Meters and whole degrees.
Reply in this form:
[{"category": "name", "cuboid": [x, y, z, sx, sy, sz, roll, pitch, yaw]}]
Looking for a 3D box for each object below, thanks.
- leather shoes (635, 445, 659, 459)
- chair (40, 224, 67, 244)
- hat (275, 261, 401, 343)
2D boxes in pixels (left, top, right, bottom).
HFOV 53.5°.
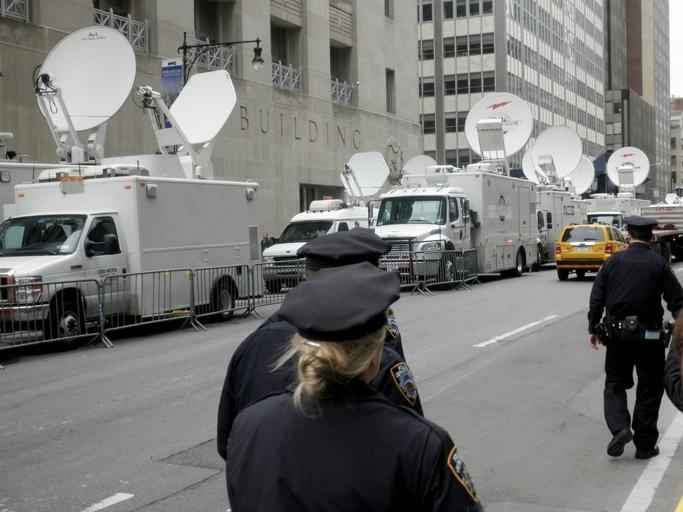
[{"category": "leather shoes", "cuboid": [3.086, 1.929, 6.750, 0.319, 0.114, 0.112, -2, 4, -26]}, {"category": "chair", "cuboid": [-5.627, -0.456, 13.328, 0.582, 0.356, 0.268, 3, 4, 28]}, {"category": "hat", "cuboid": [0.002, 0.090, 2.636, 0.297, 0.122, 0.334, 14, 39, 34]}]
